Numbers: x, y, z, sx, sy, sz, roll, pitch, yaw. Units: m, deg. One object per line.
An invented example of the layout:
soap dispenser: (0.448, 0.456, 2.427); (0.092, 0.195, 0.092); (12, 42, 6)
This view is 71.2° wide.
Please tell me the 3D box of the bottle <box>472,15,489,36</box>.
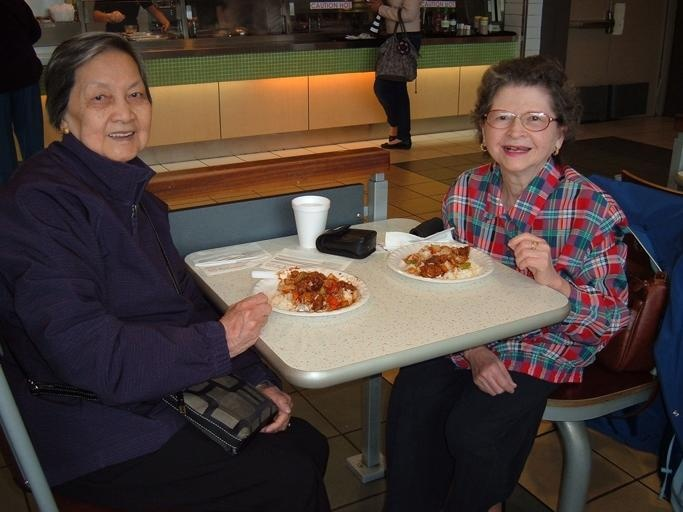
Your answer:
bottle: (2.111, -3.482, 7.182); (0.227, 0.281, 0.391); (1, 25, 14)

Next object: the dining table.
dining table: (0.049, 0.211, 1.411); (0.659, 0.379, 0.588); (-10, 31, -20)

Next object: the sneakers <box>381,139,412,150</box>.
sneakers: (0.729, -1.474, 6.344); (0.497, 0.160, 0.149); (3, 24, -1)

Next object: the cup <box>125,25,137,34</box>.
cup: (-2.383, -2.566, 5.399); (0.118, 0.067, 0.105); (2, 6, -1)

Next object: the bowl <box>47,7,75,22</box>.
bowl: (-2.945, -2.561, 5.028); (0.184, 0.095, 0.198); (3, 28, -1)

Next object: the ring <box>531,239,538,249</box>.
ring: (0.540, -0.032, 1.334); (0.023, 0.017, 0.005); (0, -16, 6)

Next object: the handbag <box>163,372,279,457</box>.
handbag: (-0.298, 0.375, 1.203); (0.248, 0.073, 0.264); (31, 15, 33)
